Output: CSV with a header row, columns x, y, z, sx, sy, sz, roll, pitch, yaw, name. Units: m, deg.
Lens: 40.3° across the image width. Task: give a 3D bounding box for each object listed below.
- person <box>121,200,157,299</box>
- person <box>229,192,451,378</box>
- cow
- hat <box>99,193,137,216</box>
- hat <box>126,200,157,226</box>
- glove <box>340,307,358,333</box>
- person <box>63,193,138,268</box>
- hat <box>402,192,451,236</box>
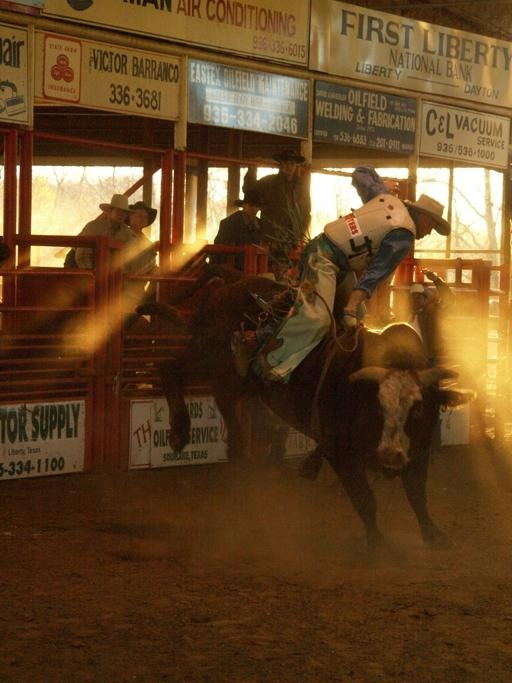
x,y,z,sx,sy,sz,roll,pitch,yaw,name
-1.372,-0.998,8.067,0.419,1.136,0.373,4,-12,-15,person
0.509,-0.517,4.459,1.597,0.515,1.035,-19,27,0,person
0.166,0.422,5.163,0.967,1.751,2.980,-4,9,-31,cow
-1.558,-1.527,7.896,0.278,0.141,0.363,1,8,-21,hat
-1.369,-1.622,8.587,0.384,0.163,0.432,-4,-8,16,hat
0.550,-0.127,4.131,0.094,0.124,0.095,7,18,-9,glove
-1.688,-1.203,7.670,0.760,0.826,3.261,-2,8,-15,person
1.044,-0.830,4.376,0.285,0.114,0.247,34,-1,32,hat
